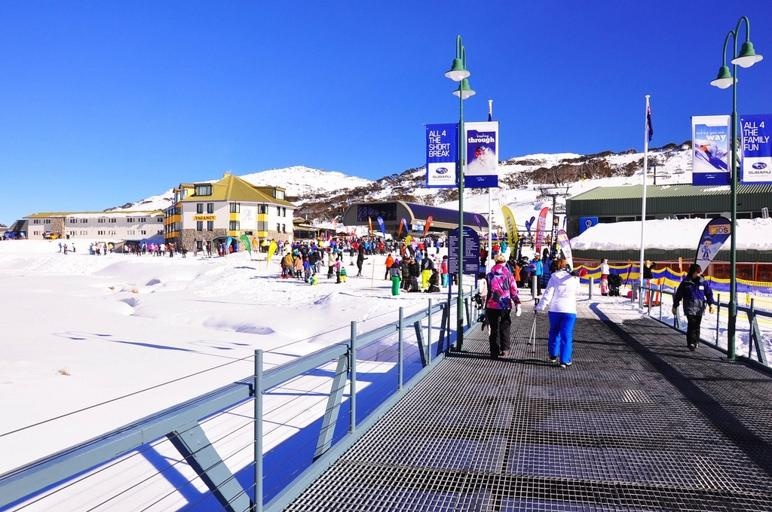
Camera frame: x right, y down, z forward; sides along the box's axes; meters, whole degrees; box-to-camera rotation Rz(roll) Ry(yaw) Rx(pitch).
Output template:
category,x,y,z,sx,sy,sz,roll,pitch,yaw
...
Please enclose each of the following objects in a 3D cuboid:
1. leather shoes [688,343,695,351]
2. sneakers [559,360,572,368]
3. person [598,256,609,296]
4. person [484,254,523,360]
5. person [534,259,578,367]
category,x,y,z,sx,sy,sz,roll,pitch,yaw
leather shoes,7.464,2.239,13.805,0.158,0.156,0.208,0,9,21
sneakers,3.911,2.385,12.411,0.281,0.111,0.124,1,-1,43
person,11.000,1.072,28.478,0.345,1.711,1.043,0,9,23
person,2.651,1.132,13.019,0.747,2.517,0.981,-2,8,9
person,3.832,1.247,12.561,0.800,2.485,1.310,-1,8,17
